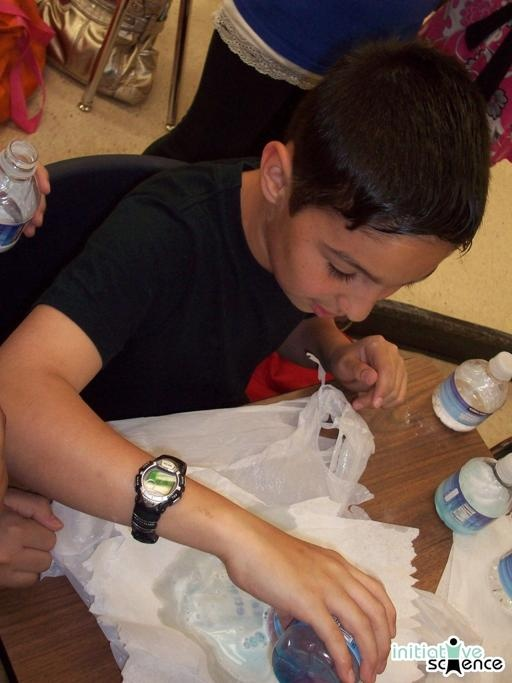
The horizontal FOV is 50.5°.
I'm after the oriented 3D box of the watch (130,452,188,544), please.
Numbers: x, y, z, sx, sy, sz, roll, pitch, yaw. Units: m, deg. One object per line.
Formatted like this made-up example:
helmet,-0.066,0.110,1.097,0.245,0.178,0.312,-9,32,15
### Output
watch,-0.098,0.157,0.543,0.046,0.071,0.068,25,51,9
